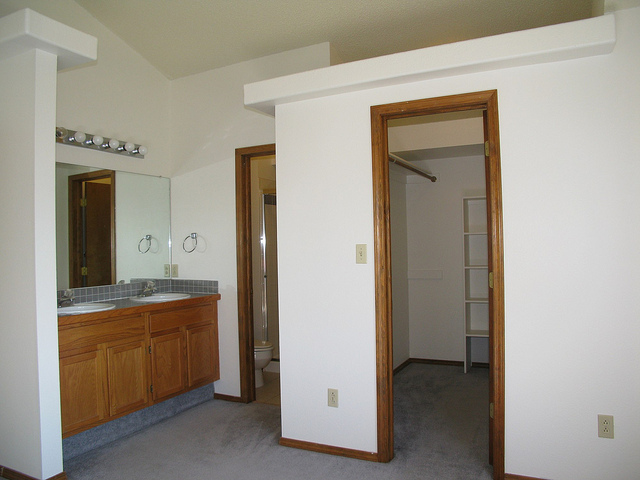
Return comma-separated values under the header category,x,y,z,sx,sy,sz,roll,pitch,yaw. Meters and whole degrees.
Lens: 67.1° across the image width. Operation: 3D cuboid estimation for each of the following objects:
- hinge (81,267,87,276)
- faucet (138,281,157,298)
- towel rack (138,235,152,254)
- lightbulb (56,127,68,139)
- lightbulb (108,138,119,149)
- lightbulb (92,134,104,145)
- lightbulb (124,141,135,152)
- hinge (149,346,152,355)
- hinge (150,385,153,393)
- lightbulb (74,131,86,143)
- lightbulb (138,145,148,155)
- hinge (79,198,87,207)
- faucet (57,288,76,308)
category,x,y,z,sx,sy,sz,roll,pitch,yaw
hinge,-2.186,0.296,4.484,0.056,0.097,0.058,1,-2,8
faucet,-1.759,0.508,4.948,0.132,0.139,0.126,2,-3,11
towel rack,-1.818,0.043,5.033,0.033,0.193,0.171,1,4,26
lightbulb,-2.277,-0.950,4.265,0.053,0.101,0.121,2,5,31
lightbulb,-1.964,-0.919,4.606,0.081,0.087,0.048,-12,15,-34
lightbulb,-2.061,-0.940,4.506,0.074,0.097,0.121,1,4,23
lightbulb,-1.893,-0.939,4.811,0.077,0.109,0.122,-1,4,-7
hinge,-1.530,0.992,4.370,0.004,0.070,0.025,2,5,36
hinge,-1.520,1.341,4.364,0.007,0.070,0.027,3,5,39
lightbulb,-2.164,-0.932,4.355,0.087,0.084,0.058,-3,4,-24
lightbulb,-1.799,-0.926,4.955,0.069,0.094,0.182,-1,4,2
hinge,-2.223,-0.359,4.527,0.019,0.100,0.083,3,2,29
faucet,-2.250,0.511,4.307,0.156,0.166,0.125,1,-3,25
